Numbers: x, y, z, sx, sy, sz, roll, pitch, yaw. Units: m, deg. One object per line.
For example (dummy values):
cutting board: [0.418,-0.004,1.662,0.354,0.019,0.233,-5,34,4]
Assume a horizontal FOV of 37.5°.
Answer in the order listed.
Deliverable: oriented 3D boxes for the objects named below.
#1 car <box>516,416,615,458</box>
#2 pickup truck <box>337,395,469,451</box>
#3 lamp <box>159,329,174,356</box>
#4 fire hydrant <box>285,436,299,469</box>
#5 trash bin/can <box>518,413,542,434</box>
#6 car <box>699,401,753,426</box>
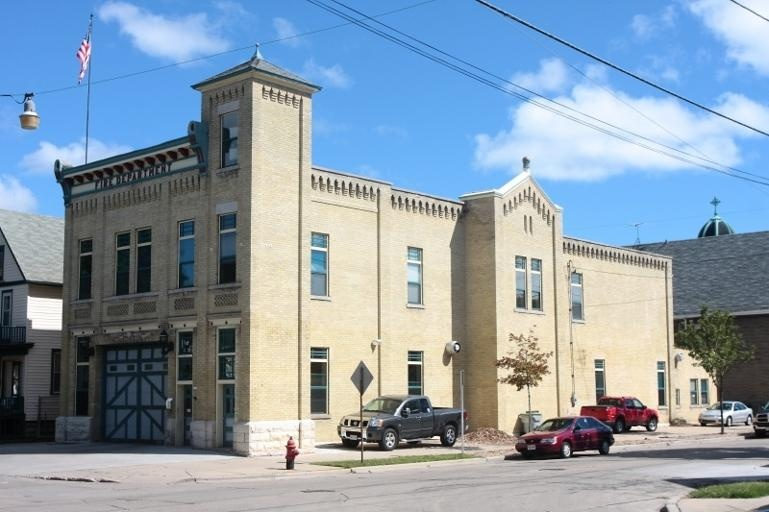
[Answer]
car: [8.629,8.630,54.248,4.760,2.018,1.384,9,-18,-32]
pickup truck: [1.035,8.182,55.580,5.463,1.766,2.869,11,-16,-41]
lamp: [-10.910,4.242,56.280,0.622,1.170,1.038,7,-16,-24]
fire hydrant: [-4.012,8.470,48.899,0.463,1.380,0.903,2,-15,-7]
trash bin/can: [8.104,9.160,62.426,1.382,1.155,1.144,-5,-5,25]
car: [22.551,10.199,74.079,4.680,1.350,2.022,12,-17,-42]
